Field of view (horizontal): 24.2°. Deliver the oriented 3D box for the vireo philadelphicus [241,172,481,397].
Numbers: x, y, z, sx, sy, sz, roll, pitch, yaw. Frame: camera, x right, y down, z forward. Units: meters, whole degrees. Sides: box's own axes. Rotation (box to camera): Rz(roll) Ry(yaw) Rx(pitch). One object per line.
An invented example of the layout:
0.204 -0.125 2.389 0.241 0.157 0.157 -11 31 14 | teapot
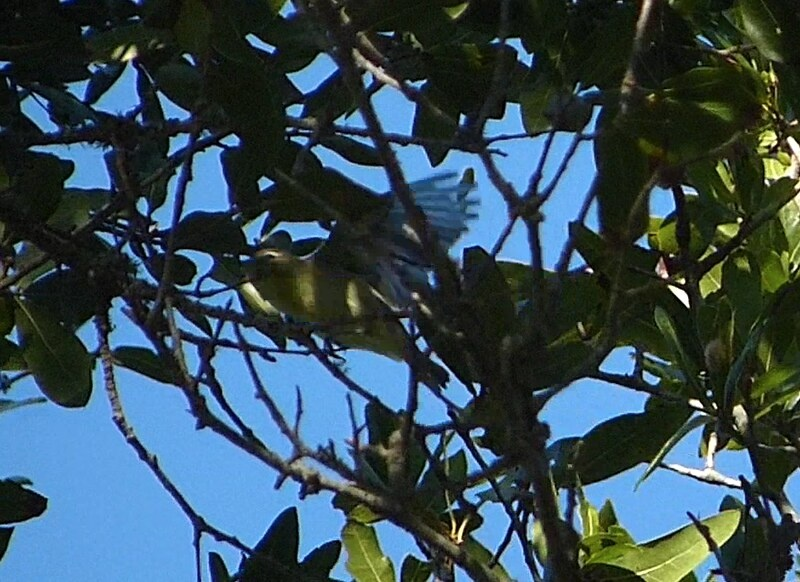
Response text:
-0.043 -0.013 1.572 0.191 0.122 0.266 17 -16 -34 | vireo philadelphicus
